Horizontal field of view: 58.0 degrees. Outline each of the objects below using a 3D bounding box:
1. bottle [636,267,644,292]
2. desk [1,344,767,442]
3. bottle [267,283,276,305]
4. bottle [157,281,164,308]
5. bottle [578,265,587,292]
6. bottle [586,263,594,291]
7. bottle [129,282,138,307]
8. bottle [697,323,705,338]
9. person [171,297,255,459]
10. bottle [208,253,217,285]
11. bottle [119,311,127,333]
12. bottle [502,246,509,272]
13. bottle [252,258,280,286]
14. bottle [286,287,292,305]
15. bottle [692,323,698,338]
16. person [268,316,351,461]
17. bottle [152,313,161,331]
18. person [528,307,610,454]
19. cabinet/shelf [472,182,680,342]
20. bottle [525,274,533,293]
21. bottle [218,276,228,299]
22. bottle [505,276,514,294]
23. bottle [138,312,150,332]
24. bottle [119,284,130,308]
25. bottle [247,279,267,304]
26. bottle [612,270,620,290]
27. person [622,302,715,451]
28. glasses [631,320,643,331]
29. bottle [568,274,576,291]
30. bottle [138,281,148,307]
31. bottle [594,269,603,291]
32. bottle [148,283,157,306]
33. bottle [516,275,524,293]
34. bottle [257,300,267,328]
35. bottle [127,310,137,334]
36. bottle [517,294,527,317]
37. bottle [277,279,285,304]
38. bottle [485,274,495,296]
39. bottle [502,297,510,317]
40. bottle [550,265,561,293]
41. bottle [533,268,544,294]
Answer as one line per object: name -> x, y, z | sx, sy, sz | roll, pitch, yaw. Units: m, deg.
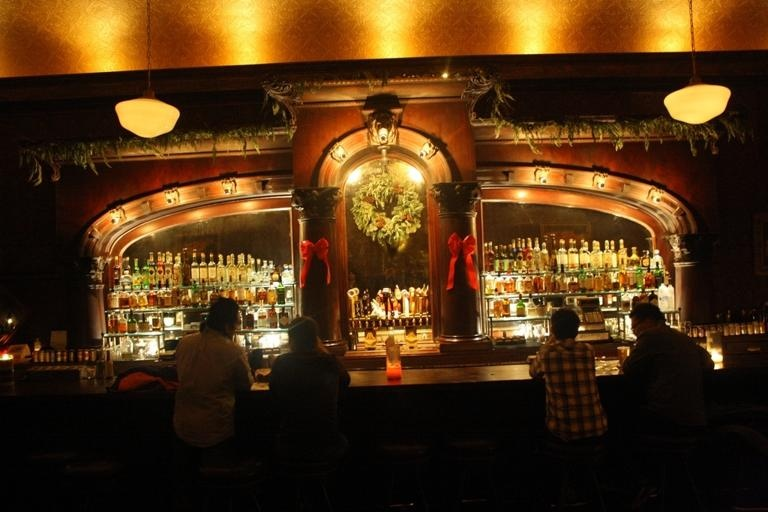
bottle -> 3.781, 0.334, 10.244 | 0.135, 0.330, 0.131 | -2, -8, 0
desk -> 0.134, 1.551, 7.625 | 8.436, 1.094, 0.368 | 1, -1, -2
bottle -> -1.610, 0.548, 10.023 | 0.118, 0.298, 0.200 | 2, -9, -23
bottle -> -3.259, 0.554, 10.138 | 0.078, 0.360, 0.103 | 1, -9, -18
bottle -> 2.921, 0.330, 10.217 | 0.093, 0.376, 0.098 | -2, -8, 0
bottle -> 3.047, 0.310, 10.250 | 0.160, 0.399, 0.068 | 6, -11, -41
bottle -> -3.657, 0.589, 10.179 | 0.117, 0.345, 0.172 | 2, -9, -21
bottle -> 4.484, 1.051, 9.776 | 0.139, 0.172, 0.043 | 1, -27, 16
person -> -1.775, 1.222, 7.214 | 0.762, 1.568, 0.254 | 1, -9, -14
bottle -> -2.545, 0.186, 10.310 | 0.120, 0.467, 0.303 | 1, -8, -14
bottle -> -3.777, 0.957, 10.042 | 0.103, 0.300, 0.160 | 2, -9, -22
bottle -> 1.826, 0.053, 10.335 | 0.094, 0.377, 0.232 | -3, -8, 11
bottle -> -1.754, 0.249, 10.262 | 0.392, 0.346, 0.201 | 0, -12, -6
bottle -> -1.368, 0.559, 10.101 | 0.102, 0.260, 0.140 | 0, -8, -13
bottle -> 4.413, 1.060, 9.818 | 0.084, 0.167, 0.034 | 3, -48, 14
person -> -0.760, 1.359, 7.132 | 0.806, 1.458, 0.288 | -1, -8, -5
bottle -> -3.321, 0.952, 10.147 | 0.126, 0.269, 0.149 | 1, -9, -20
person -> 1.918, 1.254, 7.265 | 0.742, 1.389, 0.265 | -3, -8, 10
cabinet/shelf -> 2.818, 0.394, 10.338 | 3.028, 1.973, 0.942 | -7, 6, -12
bottle -> 2.120, 0.408, 10.156 | 0.133, 0.266, 0.169 | -3, -8, 13
bottle -> -2.340, 0.429, 10.178 | 0.151, 0.288, 0.127 | 0, -8, -13
bottle -> 1.848, 0.420, 10.161 | 0.187, 0.299, 0.183 | 0, -2, 0
bottle -> -3.489, 0.961, 10.075 | 0.156, 0.281, 0.283 | 1, -8, -20
bottle -> -3.791, 0.596, 10.146 | 0.153, 0.338, 0.164 | -2, -8, 0
bottle -> -1.847, 0.530, 10.102 | 0.351, 0.307, 0.181 | 0, -2, 12
bottle -> 3.417, 0.366, 10.233 | 0.137, 0.268, 0.129 | -2, -8, 0
person -> 3.076, 1.216, 7.533 | 0.897, 1.439, 0.445 | -5, -9, 22
glasses -> 2.859, 0.795, 7.837 | 0.114, 0.108, 0.086 | 27, 20, 35
bottle -> 2.778, 0.396, 10.195 | 0.169, 0.244, 0.137 | -3, -8, 7
bottle -> -3.521, 0.583, 10.153 | 0.139, 0.349, 0.114 | 0, -8, -10
bottle -> 3.161, 0.361, 10.248 | 0.145, 0.298, 0.088 | -2, -8, 6
bottle -> -3.377, 0.567, 10.153 | 0.128, 0.317, 0.119 | -2, -8, 0
bottle -> 2.004, 0.415, 10.192 | 0.139, 0.255, 0.132 | -2, -8, 0
bottle -> -1.764, 0.859, 10.020 | 0.146, 0.342, 0.237 | 1, -8, -15
bottle -> -3.620, 0.937, 9.990 | 0.135, 0.327, 0.088 | 4, -10, -34
bottle -> 1.995, 0.713, 10.030 | 0.192, 0.327, 0.122 | 4, -10, -35
bottle -> -1.478, 0.552, 9.995 | 0.141, 0.252, 0.094 | 0, -8, -13
bottle -> 1.567, 0.416, 10.127 | 0.153, 0.286, 0.118 | -3, -8, 8
bottle -> 1.784, 0.739, 10.043 | 0.061, 0.276, 0.168 | -8, -10, 38
bottle -> 2.517, 0.344, 10.189 | 0.119, 0.391, 0.136 | -5, -9, 24
bottle -> 2.270, 0.387, 10.186 | 0.177, 0.307, 0.102 | -2, -8, 4
